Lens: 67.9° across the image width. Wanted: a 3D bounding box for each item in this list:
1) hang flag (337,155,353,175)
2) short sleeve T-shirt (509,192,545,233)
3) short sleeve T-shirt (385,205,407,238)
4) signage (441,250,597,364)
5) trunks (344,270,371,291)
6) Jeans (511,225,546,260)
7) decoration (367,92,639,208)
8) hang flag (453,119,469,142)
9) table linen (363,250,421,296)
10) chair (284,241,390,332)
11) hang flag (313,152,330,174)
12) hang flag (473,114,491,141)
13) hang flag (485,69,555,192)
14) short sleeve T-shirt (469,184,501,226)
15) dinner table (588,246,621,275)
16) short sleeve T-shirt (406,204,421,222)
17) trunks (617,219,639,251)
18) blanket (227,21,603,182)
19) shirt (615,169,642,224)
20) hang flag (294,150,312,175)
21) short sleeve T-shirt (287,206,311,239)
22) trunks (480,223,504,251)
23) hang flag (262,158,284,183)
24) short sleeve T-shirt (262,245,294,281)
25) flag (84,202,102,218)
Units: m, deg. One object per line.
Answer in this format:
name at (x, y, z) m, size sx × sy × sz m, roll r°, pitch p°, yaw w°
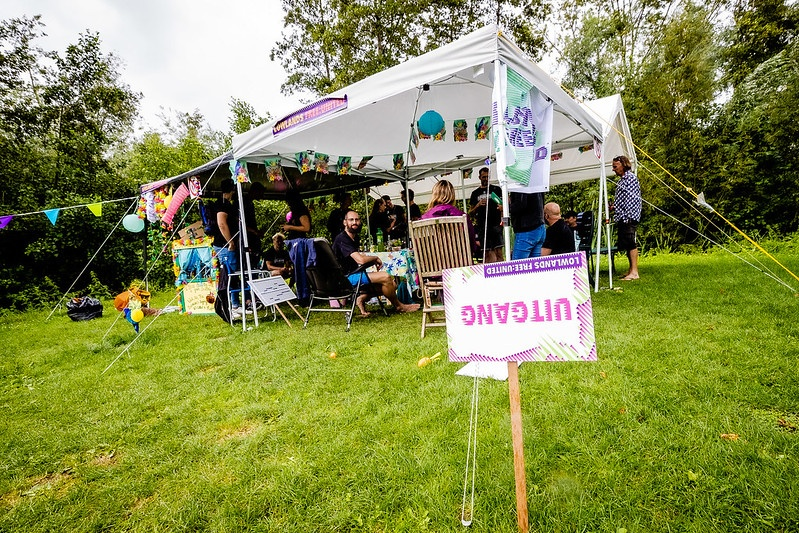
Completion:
hang flag at (-1.410, -2.592, 15.007) m, size 0.472 × 0.588 × 0.073 m, roll 0°, pitch 3°, yaw -44°
short sleeve T-shirt at (2.804, -1.234, 12.979) m, size 0.624 × 1.091 × 0.868 m, roll 2°, pitch -6°, yaw 39°
short sleeve T-shirt at (-0.136, -1.224, 16.197) m, size 0.790 × 1.029 × 0.516 m, roll -3°, pitch -1°, yaw 16°
signage at (2.053, 0.768, 10.308) m, size 1.933 × 1.492 × 0.059 m, roll -4°, pitch 1°, yaw 16°
trunks at (-0.941, 0.288, 13.632) m, size 0.419 × 0.196 × 0.427 m, roll 5°, pitch -38°, yaw -18°
Jeans at (2.746, -0.534, 12.629) m, size 0.542 × 0.834 × 0.453 m, roll -9°, pitch 16°, yaw -37°
decoration at (3.785, -2.782, 16.182) m, size 4.401 × 2.240 × 4.628 m, roll -13°, pitch 0°, yaw 22°
hang flag at (1.433, -3.271, 14.145) m, size 0.461 × 0.708 × 0.072 m, roll -3°, pitch -19°, yaw 4°
table linen at (-0.040, 0.143, 13.926) m, size 0.939 × 0.806 × 0.990 m, roll -2°, pitch -5°, yaw 24°
chair at (-1.475, 0.255, 14.161) m, size 1.630 × 2.182 × 2.412 m, roll 0°, pitch 7°, yaw 39°
hang flag at (-1.890, -2.492, 14.237) m, size 0.130 × 0.436 × 0.369 m, roll -1°, pitch 9°, yaw 22°
hang flag at (1.957, -3.234, 13.741) m, size 0.145 × 0.583 × 0.405 m, roll 9°, pitch -7°, yaw -43°
hang flag at (2.333, -2.719, 11.652) m, size 1.790 × 2.410 × 0.337 m, roll -10°, pitch 2°, yaw -39°
short sleeve T-shirt at (2.236, -1.543, 15.306) m, size 0.881 × 1.189 × 0.641 m, roll -4°, pitch 6°, yaw 15°
dinner table at (5.407, -0.176, 15.847) m, size 0.603 × 0.849 × 0.597 m, roll -6°, pitch -9°, yaw 43°
short sleeve T-shirt at (0.338, -1.518, 16.743) m, size 0.383 × 0.753 × 0.735 m, roll -2°, pitch 13°, yaw 2°
trunks at (5.816, -0.772, 15.228) m, size 0.542 × 1.096 × 0.895 m, roll -1°, pitch 1°, yaw 20°
blanket at (0.735, -4.221, 19.144) m, size 9.533 × 3.057 × 11.208 m, roll -3°, pitch 8°, yaw 2°
shirt at (5.630, -1.714, 14.750) m, size 0.686 × 1.432 × 1.442 m, roll 0°, pitch 3°, yaw 18°
hang flag at (-2.312, -2.508, 14.103) m, size 0.487 × 0.620 × 0.132 m, roll -10°, pitch 7°, yaw -39°
short sleeve T-shirt at (-2.499, -1.078, 14.576) m, size 0.806 × 0.878 × 0.451 m, roll -7°, pitch -5°, yaw 44°
trunks at (2.241, -0.711, 14.368) m, size 0.672 × 0.667 × 0.454 m, roll -5°, pitch -7°, yaw 39°
hang flag at (-3.046, -2.344, 14.314) m, size 0.413 × 0.589 × 0.077 m, roll -14°, pitch 8°, yaw -35°
short sleeve T-shirt at (-3.215, -0.169, 15.428) m, size 0.635 × 0.971 × 0.806 m, roll 1°, pitch -3°, yaw -34°
flag at (-8.175, -1.506, 15.805) m, size 0.034 × 0.551 × 0.514 m, roll -4°, pitch -11°, yaw 25°
